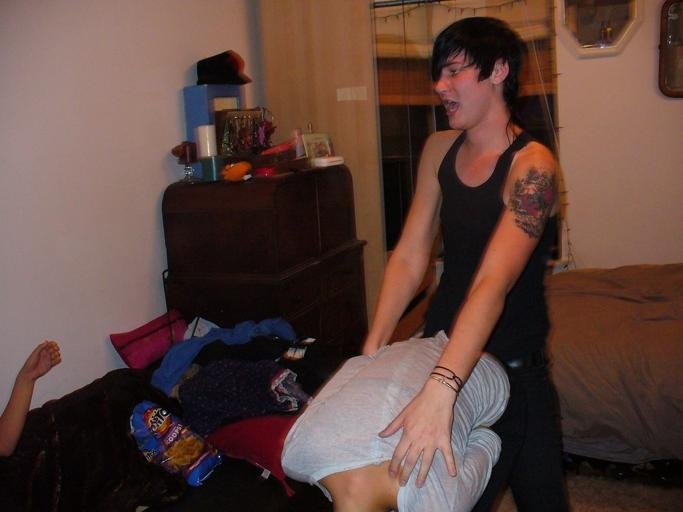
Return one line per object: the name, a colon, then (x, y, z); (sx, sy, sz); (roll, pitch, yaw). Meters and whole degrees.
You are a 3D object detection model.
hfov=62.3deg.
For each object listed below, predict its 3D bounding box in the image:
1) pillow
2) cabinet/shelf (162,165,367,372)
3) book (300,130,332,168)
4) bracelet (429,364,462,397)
pillow: (-0.903, 0.410, 2.750); (0.375, 0.164, 0.236); (-20, 25, -41)
cabinet/shelf: (-0.400, 0.124, 3.383); (0.689, 1.185, 1.215); (2, 10, 20)
book: (-0.149, -0.616, 3.282); (0.035, 0.185, 0.257); (-16, 5, 36)
bracelet: (0.240, 0.279, 1.296); (0.066, 0.066, 0.017); (23, 73, 49)
